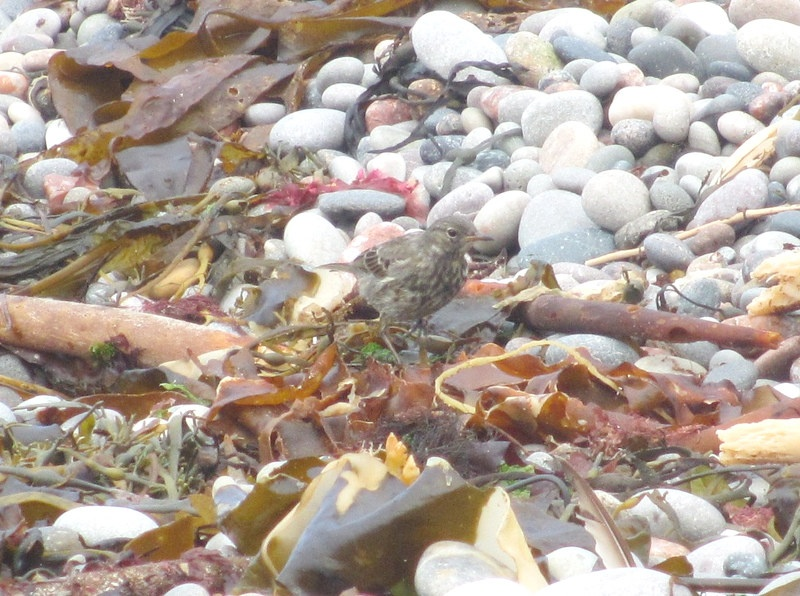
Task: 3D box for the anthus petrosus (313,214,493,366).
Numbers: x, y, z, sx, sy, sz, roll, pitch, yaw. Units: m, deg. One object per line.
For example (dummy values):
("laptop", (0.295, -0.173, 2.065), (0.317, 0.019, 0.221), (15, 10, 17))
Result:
("anthus petrosus", (0.038, -0.075, 5.584), (0.930, 0.596, 0.471), (11, 22, 38))
